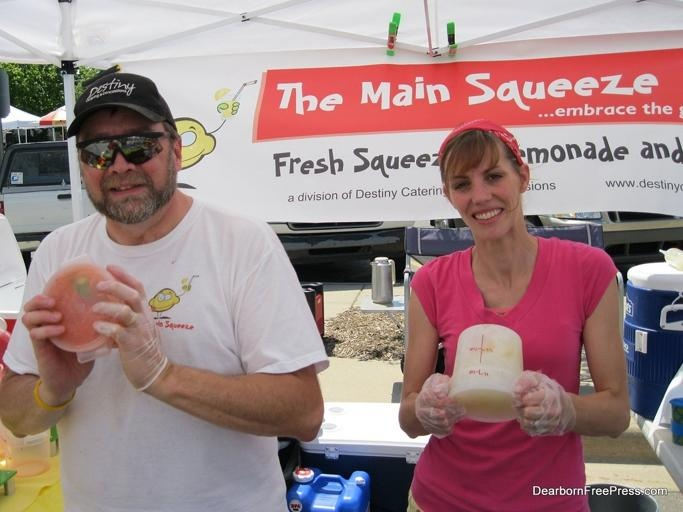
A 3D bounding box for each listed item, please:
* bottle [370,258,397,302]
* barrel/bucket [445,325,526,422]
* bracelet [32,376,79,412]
[{"bbox_3d":[0.383,0.228,5.874,0.207,0.410,0.472,-1,2,2],"label":"bottle"},{"bbox_3d":[0.590,0.429,2.475,0.394,0.361,0.344,2,-39,19],"label":"barrel/bucket"},{"bbox_3d":[-1.163,0.573,2.543,0.144,0.141,0.060,6,24,0],"label":"bracelet"}]
